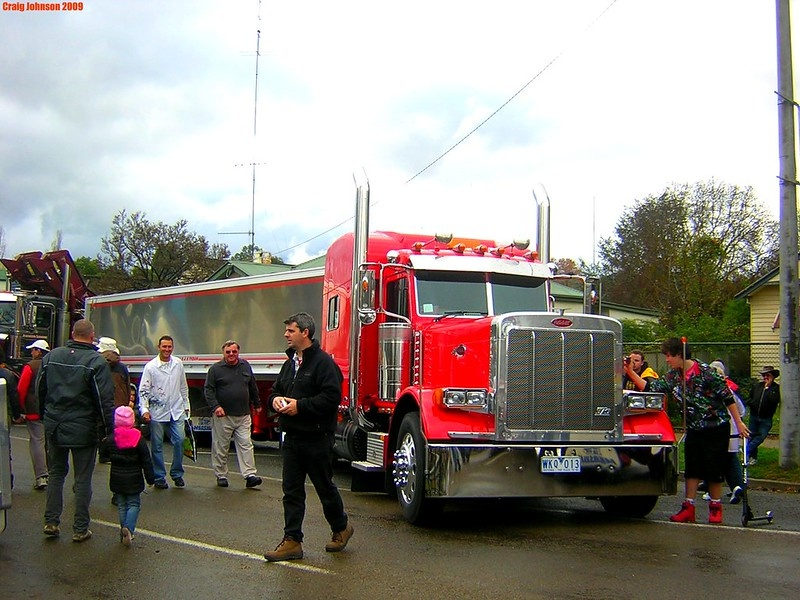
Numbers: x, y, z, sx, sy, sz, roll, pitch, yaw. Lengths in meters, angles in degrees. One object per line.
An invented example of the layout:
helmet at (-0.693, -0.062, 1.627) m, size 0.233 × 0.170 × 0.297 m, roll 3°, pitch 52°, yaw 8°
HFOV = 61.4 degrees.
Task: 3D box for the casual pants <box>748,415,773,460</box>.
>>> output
casual pants at (6.911, 2.661, 12.982) m, size 0.360 × 0.350 × 1.156 m, roll -2°, pitch 41°, yaw 37°

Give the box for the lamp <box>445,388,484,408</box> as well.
lamp at (0.750, 1.122, 7.694) m, size 0.499 × 0.223 × 0.066 m, roll -1°, pitch -2°, yaw -1°

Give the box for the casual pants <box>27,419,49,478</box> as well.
casual pants at (-5.698, 2.266, 10.563) m, size 0.190 × 1.046 × 0.258 m, roll -4°, pitch -5°, yaw -4°

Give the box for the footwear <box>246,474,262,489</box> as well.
footwear at (-2.351, 2.923, 10.830) m, size 0.127 × 0.156 × 0.317 m, roll 4°, pitch -19°, yaw -27°

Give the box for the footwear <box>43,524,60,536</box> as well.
footwear at (-3.864, 2.545, 7.465) m, size 0.090 × 0.115 × 0.222 m, roll 5°, pitch -16°, yaw -22°

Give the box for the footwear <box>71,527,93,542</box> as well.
footwear at (-3.476, 2.565, 7.385) m, size 0.087 × 0.127 × 0.255 m, roll 5°, pitch 3°, yaw 13°

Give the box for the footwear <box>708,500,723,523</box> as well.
footwear at (3.832, 2.567, 8.176) m, size 0.147 × 0.278 × 0.154 m, roll -2°, pitch -2°, yaw 18°

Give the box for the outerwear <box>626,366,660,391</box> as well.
outerwear at (3.531, 1.151, 9.853) m, size 0.502 × 0.319 × 0.683 m, roll -1°, pitch -9°, yaw 44°

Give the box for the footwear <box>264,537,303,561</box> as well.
footwear at (-1.127, 2.464, 6.686) m, size 0.396 × 0.254 × 0.169 m, roll 7°, pitch -10°, yaw -23°

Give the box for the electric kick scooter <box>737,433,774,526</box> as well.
electric kick scooter at (5.351, 2.717, 10.151) m, size 0.541 × 1.441 × 0.661 m, roll 4°, pitch 0°, yaw 28°

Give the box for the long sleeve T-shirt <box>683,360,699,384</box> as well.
long sleeve T-shirt at (3.600, 0.892, 8.333) m, size 0.197 × 0.302 × 0.153 m, roll 6°, pitch -9°, yaw 17°

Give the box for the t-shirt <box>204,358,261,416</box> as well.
t-shirt at (-2.820, 1.477, 11.317) m, size 0.638 × 1.199 × 0.661 m, roll 0°, pitch -1°, yaw 39°

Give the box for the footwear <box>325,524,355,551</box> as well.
footwear at (-0.605, 2.451, 6.944) m, size 0.139 × 0.193 × 0.392 m, roll -6°, pitch -4°, yaw 20°

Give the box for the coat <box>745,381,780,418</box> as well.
coat at (7.163, 1.940, 13.225) m, size 0.364 × 0.753 × 0.607 m, roll 16°, pitch -1°, yaw -31°

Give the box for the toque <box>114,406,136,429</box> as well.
toque at (-2.994, 1.265, 7.288) m, size 0.203 × 0.223 × 0.211 m, roll 0°, pitch -2°, yaw -19°

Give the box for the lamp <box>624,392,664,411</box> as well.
lamp at (2.977, 1.241, 8.223) m, size 0.587 × 0.250 × 0.122 m, roll 0°, pitch -2°, yaw -24°

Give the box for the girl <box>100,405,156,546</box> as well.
girl at (-2.960, 1.937, 7.430) m, size 0.442 × 1.526 × 0.741 m, roll -2°, pitch -1°, yaw -33°
